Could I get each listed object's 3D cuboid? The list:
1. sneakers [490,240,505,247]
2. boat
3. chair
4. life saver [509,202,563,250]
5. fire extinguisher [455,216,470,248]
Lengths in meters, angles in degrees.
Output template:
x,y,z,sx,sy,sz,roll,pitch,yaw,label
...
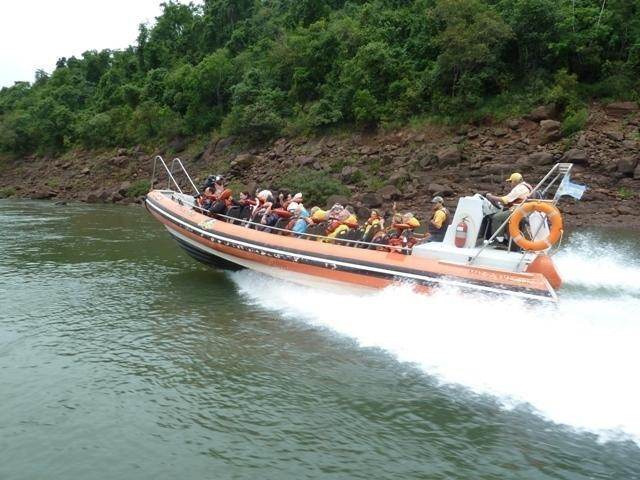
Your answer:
x,y,z,sx,sy,sz,roll,pitch,yaw,label
3.236,0.079,9.464,0.213,0.057,0.180,13,33,21,sneakers
-0.168,-0.487,11.684,10.899,2.882,2.127,8,7,32,boat
-0.115,-0.562,11.207,4.872,0.982,1.316,10,-6,22,chair
3.667,-0.230,8.902,0.852,0.870,0.548,9,7,13,life saver
2.567,-0.125,9.398,0.192,0.536,0.090,16,11,43,fire extinguisher
